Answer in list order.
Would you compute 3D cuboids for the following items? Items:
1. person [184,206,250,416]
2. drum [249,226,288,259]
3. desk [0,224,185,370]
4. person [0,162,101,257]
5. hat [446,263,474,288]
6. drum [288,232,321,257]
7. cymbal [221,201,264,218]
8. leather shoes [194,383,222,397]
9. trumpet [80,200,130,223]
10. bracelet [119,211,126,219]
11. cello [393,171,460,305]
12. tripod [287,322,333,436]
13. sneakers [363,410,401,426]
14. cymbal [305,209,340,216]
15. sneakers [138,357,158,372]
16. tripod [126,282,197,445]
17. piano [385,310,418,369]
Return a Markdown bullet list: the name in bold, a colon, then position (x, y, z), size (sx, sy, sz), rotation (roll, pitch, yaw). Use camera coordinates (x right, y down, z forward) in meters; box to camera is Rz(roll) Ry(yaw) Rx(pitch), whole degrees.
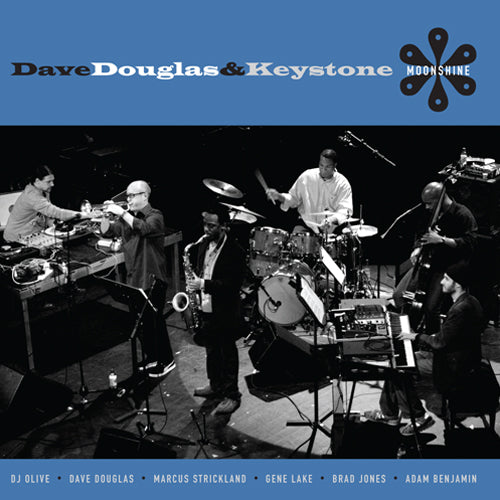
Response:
- **person**: position (-0.344, 0.560, 4.857), size (0.558, 1.807, 0.616), rotation (2, 13, 3)
- **drum**: position (0.206, -0.114, 5.727), size (0.353, 0.265, 0.349), rotation (10, 4, -1)
- **desk**: position (-1.767, 0.528, 5.589), size (1.412, 0.721, 0.346), rotation (-27, 42, -34)
- **person**: position (-2.345, -0.600, 5.908), size (1.124, 1.508, 0.665), rotation (0, 32, -24)
- **hat**: position (1.846, 0.220, 4.522), size (0.186, 0.137, 0.158), rotation (33, 2, 14)
- **drum**: position (0.590, -0.059, 5.624), size (0.287, 0.196, 0.284), rotation (1, 2, 0)
- **cymbal**: position (-0.117, -0.439, 5.483), size (0.288, 0.067, 0.287), rotation (15, -10, 27)
- **leather shoes**: position (-0.421, 1.376, 5.047), size (0.280, 0.114, 0.092), rotation (8, 0, 5)
- **trumpet**: position (-1.589, -0.407, 5.524), size (0.324, 0.168, 0.324), rotation (2, 11, 33)
- **bracelet**: position (-1.321, -0.354, 5.306), size (0.022, 0.074, 0.055), rotation (29, 21, -12)
- **cello**: position (1.824, -0.028, 5.452), size (0.232, 1.323, 0.549), rotation (7, 18, -16)
- **tripod**: position (0.581, 1.258, 4.937), size (0.605, 1.028, 0.830), rotation (-1, 13, 2)
- **sneakers**: position (1.161, 1.444, 4.526), size (0.283, 0.111, 0.104), rotation (10, 5, 24)
- **cymbal**: position (0.841, -0.409, 5.791), size (0.212, 0.034, 0.154), rotation (-6, 3, -5)
- **sneakers**: position (-1.100, 1.196, 5.360), size (0.174, 0.084, 0.231), rotation (0, 3, 25)
- **tripod**: position (-0.897, 1.145, 5.102), size (0.805, 1.522, 1.222), rotation (-3, 7, -13)
- **piano**: position (1.308, 0.788, 4.467), size (0.186, 0.125, 0.598), rotation (-12, 46, 17)
